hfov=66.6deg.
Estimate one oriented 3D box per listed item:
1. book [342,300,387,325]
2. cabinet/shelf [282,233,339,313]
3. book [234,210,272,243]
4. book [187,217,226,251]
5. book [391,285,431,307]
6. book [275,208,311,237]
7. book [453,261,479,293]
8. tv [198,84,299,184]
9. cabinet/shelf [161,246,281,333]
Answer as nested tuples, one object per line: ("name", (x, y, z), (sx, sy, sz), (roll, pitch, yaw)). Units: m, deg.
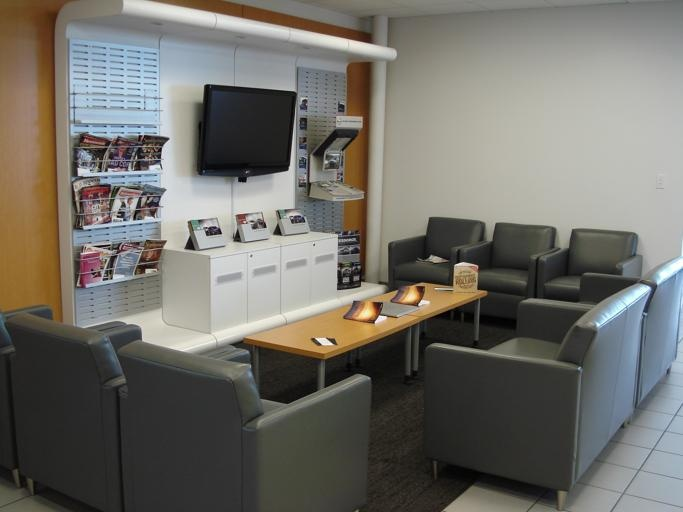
("book", (0.179, 0.455, 4.203), (0.208, 0.078, 0.185), (4, 33, 27))
("cabinet/shelf", (-0.380, 0.187, 5.672), (0.330, 0.727, 0.870), (2, 4, 35))
("book", (-0.936, -0.289, 5.520), (0.283, 0.415, 0.525), (2, 6, 37))
("book", (-1.335, -0.202, 5.001), (0.144, 0.248, 0.324), (-7, 1, 36))
("book", (0.600, 0.361, 4.647), (0.236, 0.082, 0.175), (-2, 14, 40))
("book", (-0.617, -0.366, 5.991), (0.273, 0.398, 0.540), (0, 2, 41))
("book", (1.211, 0.222, 5.073), (0.288, 0.304, 0.168), (2, 10, 5))
("tv", (-1.030, -1.289, 5.435), (0.155, 0.928, 1.216), (20, 18, 36))
("cabinet/shelf", (-1.188, 0.284, 5.039), (0.724, 0.753, 1.223), (4, 7, 36))
